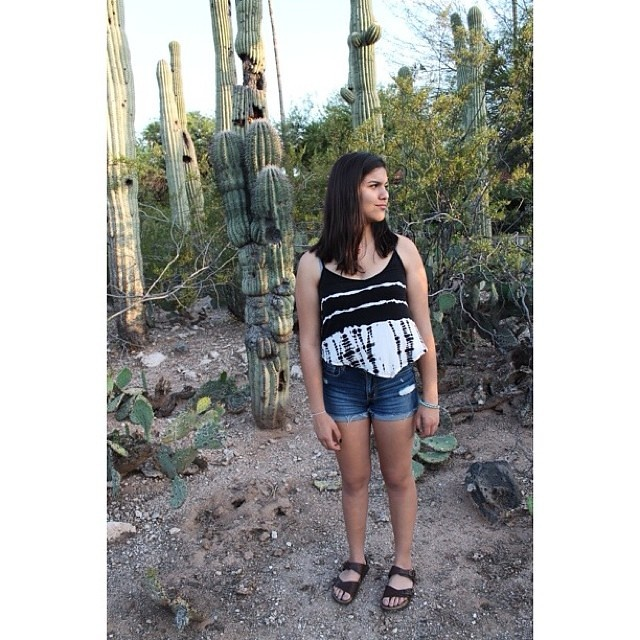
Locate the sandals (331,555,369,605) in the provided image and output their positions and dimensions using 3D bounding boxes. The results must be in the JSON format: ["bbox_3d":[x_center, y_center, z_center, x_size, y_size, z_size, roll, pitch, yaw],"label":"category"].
[{"bbox_3d":[0.123,1.086,2.510,0.107,0.111,0.267,14,16,13],"label":"sandals"}]

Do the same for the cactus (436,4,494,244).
[{"bbox_3d":[1.286,-1.849,5.126,0.330,2.021,2.508,-1,14,14],"label":"cactus"}]

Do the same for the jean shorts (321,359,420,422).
[{"bbox_3d":[0.190,0.202,2.295,0.293,0.243,0.225,-2,1,2],"label":"jean shorts"}]

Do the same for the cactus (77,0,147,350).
[{"bbox_3d":[-1.697,-1.253,5.025,0.457,2.893,0.787,-8,14,-18],"label":"cactus"}]

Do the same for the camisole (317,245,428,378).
[{"bbox_3d":[0.197,-0.040,2.346,0.387,0.620,0.306,-9,-10,7],"label":"camisole"}]
